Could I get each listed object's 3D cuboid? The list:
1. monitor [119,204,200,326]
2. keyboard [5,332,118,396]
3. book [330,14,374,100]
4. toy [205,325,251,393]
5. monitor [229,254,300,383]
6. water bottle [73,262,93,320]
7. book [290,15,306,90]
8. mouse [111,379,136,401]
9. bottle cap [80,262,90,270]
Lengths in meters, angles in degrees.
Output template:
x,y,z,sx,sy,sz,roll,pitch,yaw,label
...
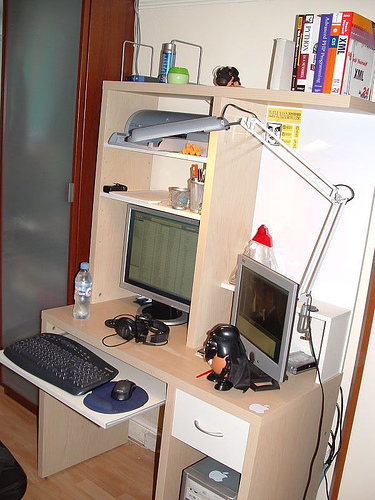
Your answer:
x,y,z,sx,sy,sz,roll,pitch,yaw,label
-0.104,0.064,1.644,0.440,0.456,0.153,13,13,42,monitor
-0.420,0.370,1.309,0.405,0.044,0.201,11,9,33,keyboard
0.432,-0.520,1.053,0.072,0.211,0.205,9,-29,8,book
0.116,0.312,1.147,0.124,0.189,0.142,2,8,-10,toy
0.223,0.202,1.187,0.055,0.328,0.374,3,8,-18,monitor
-0.428,0.173,1.624,0.073,0.236,0.077,6,7,-1,water bottle
0.318,-0.576,1.143,0.020,0.165,0.057,13,22,14,book
-0.195,0.406,1.149,0.036,0.021,0.061,6,13,8,mouse
-0.419,0.059,1.609,0.032,0.029,0.033,-4,20,-36,bottle cap
